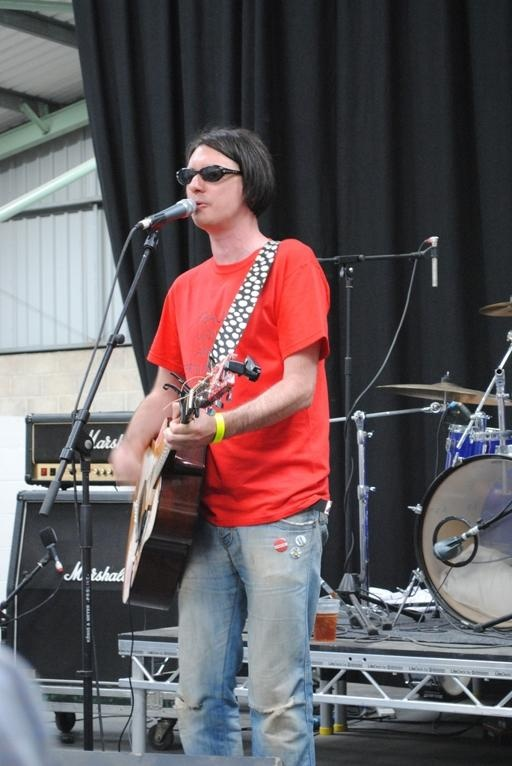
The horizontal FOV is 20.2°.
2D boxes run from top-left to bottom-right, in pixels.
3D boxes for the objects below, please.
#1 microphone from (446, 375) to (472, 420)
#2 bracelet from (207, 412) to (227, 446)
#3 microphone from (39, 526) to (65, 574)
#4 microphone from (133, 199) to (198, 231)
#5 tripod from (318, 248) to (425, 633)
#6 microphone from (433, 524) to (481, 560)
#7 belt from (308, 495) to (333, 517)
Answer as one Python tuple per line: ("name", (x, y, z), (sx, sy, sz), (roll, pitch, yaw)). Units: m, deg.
("microphone", (0.705, 0.046, 5.197), (0.128, 0.143, 0.126), (-1, -1, 6))
("bracelet", (-0.093, 0.107, 3.526), (0.035, 0.066, 0.037), (-2, -6, -6))
("microphone", (-0.704, 0.582, 4.998), (0.050, 0.189, 0.044), (-24, -20, 9))
("microphone", (-0.244, -0.460, 3.945), (0.112, 0.087, 0.152), (3, 7, 14))
("tripod", (0.441, 0.213, 5.491), (0.496, 1.592, 0.507), (-4, 19, -6))
("microphone", (0.640, 0.514, 4.675), (0.123, 0.130, 0.052), (-27, -12, 28))
("belt", (0.165, 0.315, 3.708), (0.077, 0.059, 0.111), (0, -5, 7))
